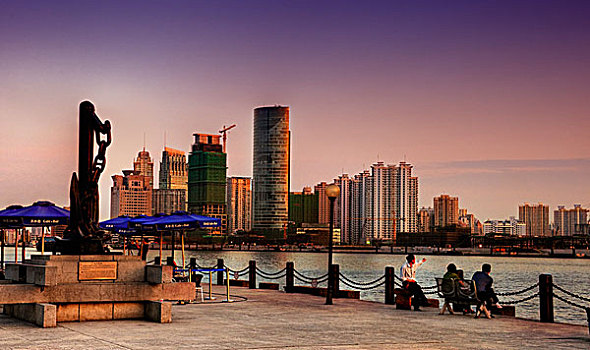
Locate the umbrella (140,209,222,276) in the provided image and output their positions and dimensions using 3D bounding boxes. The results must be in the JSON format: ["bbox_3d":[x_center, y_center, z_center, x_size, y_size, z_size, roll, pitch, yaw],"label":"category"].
[{"bbox_3d":[-6.794,2.866,57.611,5.280,4.476,3.068,3,-3,-22],"label":"umbrella"}]
